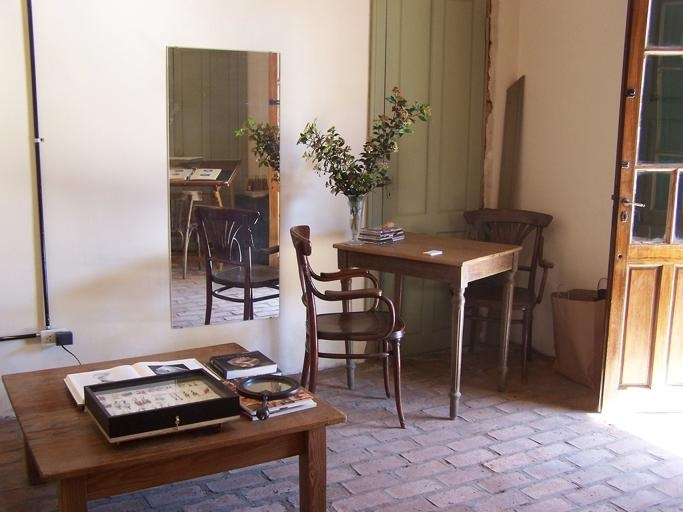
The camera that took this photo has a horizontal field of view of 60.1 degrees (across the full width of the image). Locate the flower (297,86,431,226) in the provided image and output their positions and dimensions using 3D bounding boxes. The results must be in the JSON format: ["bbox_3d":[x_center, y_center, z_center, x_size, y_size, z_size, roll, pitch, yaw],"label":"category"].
[{"bbox_3d":[0.123,-0.673,3.982,0.828,0.859,0.643,-3,14,-5],"label":"flower"}]

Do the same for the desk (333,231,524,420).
[{"bbox_3d":[0.534,0.402,3.875,1.033,0.954,0.755,6,10,39],"label":"desk"}]

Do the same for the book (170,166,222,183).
[{"bbox_3d":[-0.911,-0.500,3.643,0.212,0.099,0.037,1,-11,-12],"label":"book"}]

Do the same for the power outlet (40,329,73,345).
[{"bbox_3d":[-1.638,0.476,3.399,0.163,0.116,0.046,-8,15,-23],"label":"power outlet"}]

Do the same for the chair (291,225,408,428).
[{"bbox_3d":[0.030,0.431,3.510,0.816,0.994,0.776,2,3,26],"label":"chair"}]
